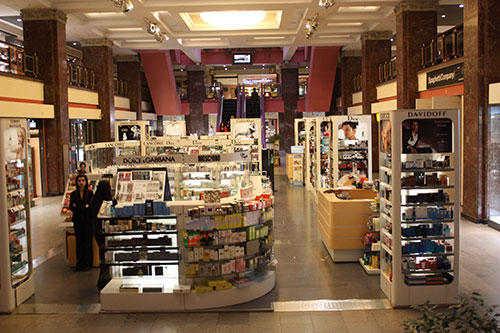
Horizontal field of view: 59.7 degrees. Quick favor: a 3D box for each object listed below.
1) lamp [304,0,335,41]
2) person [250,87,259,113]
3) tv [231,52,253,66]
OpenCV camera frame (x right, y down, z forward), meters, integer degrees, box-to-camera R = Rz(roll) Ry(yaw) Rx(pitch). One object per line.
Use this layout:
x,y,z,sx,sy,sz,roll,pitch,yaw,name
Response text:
2.438,-5.506,16.067,0.422,1.069,0.393,15,37,-8,lamp
0.328,-4.053,26.596,0.455,1.513,0.806,-4,2,2,person
-0.504,-6.219,26.146,1.248,0.843,0.663,0,0,2,tv
